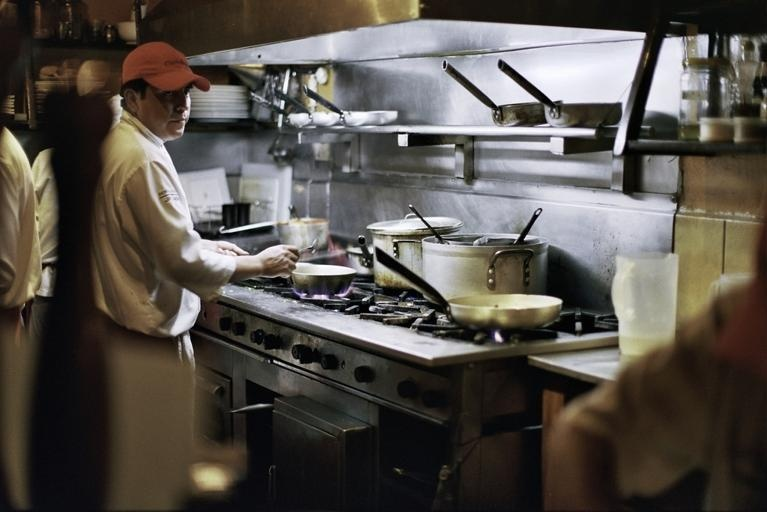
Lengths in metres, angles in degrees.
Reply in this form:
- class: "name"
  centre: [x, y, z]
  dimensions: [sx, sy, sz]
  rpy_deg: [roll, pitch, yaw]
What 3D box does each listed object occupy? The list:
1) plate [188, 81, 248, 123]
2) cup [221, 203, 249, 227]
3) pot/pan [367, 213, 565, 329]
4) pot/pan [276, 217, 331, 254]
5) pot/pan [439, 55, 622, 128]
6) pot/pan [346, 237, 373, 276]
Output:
- class: "plate"
  centre: [-1.061, -0.973, 4.409]
  dimensions: [0.424, 0.202, 0.413]
  rpy_deg: [-1, 2, -1]
- class: "cup"
  centre: [-0.852, -0.236, 4.091]
  dimensions: [0.134, 0.164, 0.176]
  rpy_deg: [0, 4, 8]
- class: "pot/pan"
  centre: [0.277, 0.040, 2.204]
  dimensions: [0.535, 0.205, 0.386]
  rpy_deg: [-2, 9, -9]
- class: "pot/pan"
  centre: [-0.404, -0.100, 3.469]
  dimensions: [0.201, 0.095, 0.177]
  rpy_deg: [-5, 5, -41]
- class: "pot/pan"
  centre: [0.540, -0.479, 2.295]
  dimensions: [0.453, 0.163, 0.334]
  rpy_deg: [-6, 11, -42]
- class: "pot/pan"
  centre: [-0.100, 0.014, 3.009]
  dimensions: [0.115, 0.115, 0.174]
  rpy_deg: [1, 6, 3]
